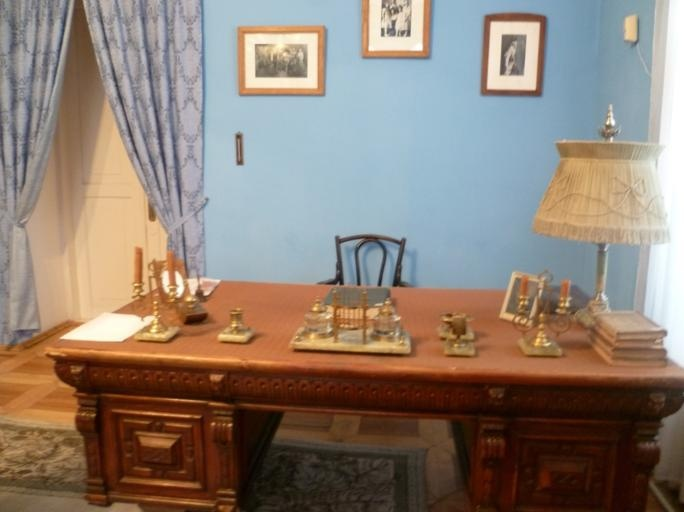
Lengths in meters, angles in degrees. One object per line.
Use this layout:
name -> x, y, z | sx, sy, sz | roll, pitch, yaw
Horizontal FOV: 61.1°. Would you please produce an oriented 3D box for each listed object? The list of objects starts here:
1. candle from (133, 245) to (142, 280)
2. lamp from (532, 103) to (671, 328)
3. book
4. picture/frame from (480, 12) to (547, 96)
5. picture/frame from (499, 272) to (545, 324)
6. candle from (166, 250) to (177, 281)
candle -> -0.879, 0.039, 2.492 | 0.028, 0.148, 0.073 | -2, 12, -12
lamp -> 1.200, -0.160, 2.659 | 0.558, 0.903, 0.570 | 4, 8, 19
book -> 1.190, 0.342, 2.420 | 0.239, 0.158, 0.212 | 0, 12, 0
picture/frame -> 1.197, -1.422, 4.011 | 0.509, 0.695, 0.050 | 1, 11, 1
picture/frame -> 0.823, 0.201, 2.642 | 0.210, 0.289, 0.035 | 5, 7, 31
candle -> -0.765, 0.051, 2.582 | 0.028, 0.156, 0.094 | -4, 12, -19
